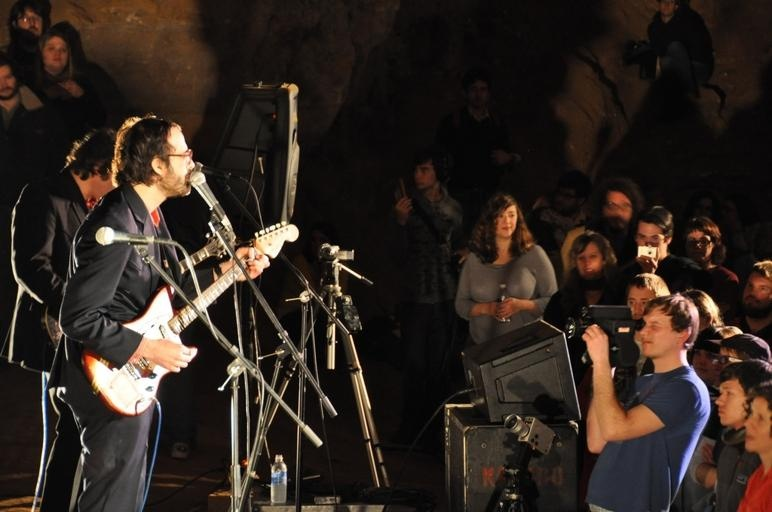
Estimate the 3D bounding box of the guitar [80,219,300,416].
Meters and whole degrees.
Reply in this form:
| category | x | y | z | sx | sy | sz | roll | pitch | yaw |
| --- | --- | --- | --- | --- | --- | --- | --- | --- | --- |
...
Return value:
| category | x | y | z | sx | sy | sz | roll | pitch | yaw |
| --- | --- | --- | --- | --- | --- | --- | --- | --- | --- |
| guitar | -1.382 | 0.412 | 6.589 | 0.691 | 1.726 | 0.205 | 51 | -25 | -6 |

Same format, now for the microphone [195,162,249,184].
| category | x | y | z | sx | sy | sz | roll | pitch | yaw |
| --- | --- | --- | --- | --- | --- | --- | --- | --- | --- |
| microphone | -1.174 | -0.576 | 7.029 | 0.134 | 0.120 | 0.705 | 20 | 2 | 15 |

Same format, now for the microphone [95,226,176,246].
| category | x | y | z | sx | sy | sz | roll | pitch | yaw |
| --- | --- | --- | --- | --- | --- | --- | --- | --- | --- |
| microphone | -1.599 | -0.121 | 6.080 | 0.081 | 0.091 | 0.459 | -29 | -26 | 37 |

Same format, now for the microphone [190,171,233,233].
| category | x | y | z | sx | sy | sz | roll | pitch | yaw |
| --- | --- | --- | --- | --- | --- | --- | --- | --- | --- |
| microphone | -1.139 | -0.379 | 6.322 | 0.290 | 0.395 | 0.216 | 6 | -10 | -9 |

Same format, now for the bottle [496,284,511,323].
| category | x | y | z | sx | sy | sz | roll | pitch | yaw |
| --- | --- | --- | --- | --- | --- | --- | --- | --- | --- |
| bottle | 0.972 | 0.391 | 8.055 | 0.104 | 0.327 | 0.155 | 3 | -10 | 6 |

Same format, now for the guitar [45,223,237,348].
| category | x | y | z | sx | sy | sz | roll | pitch | yaw |
| --- | --- | --- | --- | --- | --- | --- | --- | --- | --- |
| guitar | -1.578 | 0.250 | 6.268 | 0.899 | 0.926 | 0.776 | 11 | -12 | -33 |

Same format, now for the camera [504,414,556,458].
| category | x | y | z | sx | sy | sz | roll | pitch | yaw |
| --- | --- | --- | --- | --- | --- | --- | --- | --- | --- |
| camera | 0.945 | 1.149 | 6.363 | 0.263 | 0.144 | 0.499 | 9 | -44 | -9 |
